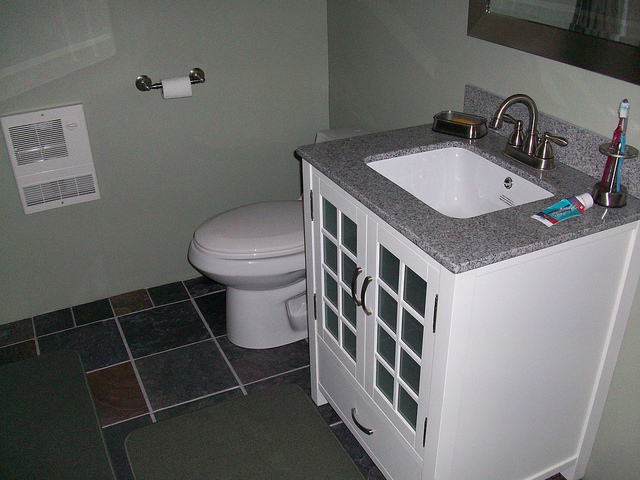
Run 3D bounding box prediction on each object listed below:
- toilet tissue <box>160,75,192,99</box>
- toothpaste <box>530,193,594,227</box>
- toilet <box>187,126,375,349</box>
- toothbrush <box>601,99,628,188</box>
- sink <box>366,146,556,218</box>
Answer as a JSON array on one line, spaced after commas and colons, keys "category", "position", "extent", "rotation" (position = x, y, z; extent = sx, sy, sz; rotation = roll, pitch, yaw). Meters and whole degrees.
[{"category": "toilet tissue", "position": [-0.605, -0.638, 2.178], "extent": [0.132, 0.082, 0.080], "rotation": [-10, 28, -14]}, {"category": "toothpaste", "position": [0.578, -0.080, 1.240], "extent": [0.164, 0.043, 0.062], "rotation": [-17, 31, -26]}, {"category": "toilet", "position": [-0.194, 0.118, 2.051], "extent": [0.800, 0.886, 0.458], "rotation": [-14, 30, -23]}, {"category": "toothbrush", "position": [0.707, -0.185, 1.240], "extent": [0.031, 0.276, 0.033], "rotation": [4, 12, 6]}, {"category": "sink", "position": [0.396, -0.255, 1.466], "extent": [0.257, 0.152, 0.363], "rotation": [-18, 42, -27]}]
